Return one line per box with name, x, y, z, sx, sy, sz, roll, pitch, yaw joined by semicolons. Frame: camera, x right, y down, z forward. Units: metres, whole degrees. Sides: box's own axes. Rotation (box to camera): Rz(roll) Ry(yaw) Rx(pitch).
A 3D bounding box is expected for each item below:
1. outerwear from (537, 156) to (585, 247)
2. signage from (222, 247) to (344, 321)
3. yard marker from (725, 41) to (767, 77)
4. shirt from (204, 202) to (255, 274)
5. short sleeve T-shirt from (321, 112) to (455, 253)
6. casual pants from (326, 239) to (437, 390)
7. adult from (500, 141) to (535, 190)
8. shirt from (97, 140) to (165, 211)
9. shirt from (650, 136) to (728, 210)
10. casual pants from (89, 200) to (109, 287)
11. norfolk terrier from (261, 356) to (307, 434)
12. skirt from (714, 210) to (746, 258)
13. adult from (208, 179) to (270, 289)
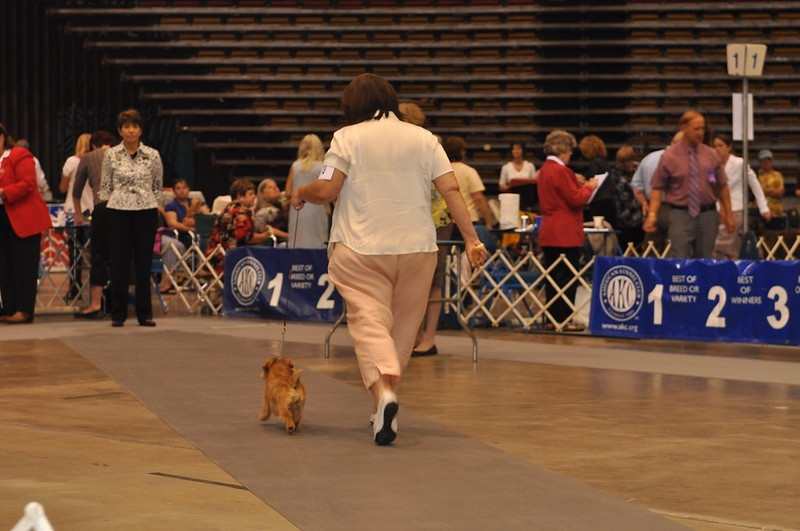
outerwear;2.024;-0.777;15.275;0.655;1.034;0.796;1;-2;-11
signage;-1.517;0.232;16.247;1.848;0.917;0.305;5;5;-37
yard marker;4.527;-2.734;16.802;0.493;0.437;0.585;1;-2;-29
shirt;-2.255;-0.347;16.850;0.474;0.806;0.692;13;-13;45
short sleeve T-shirt;-0.132;-0.719;11.174;1.108;1.153;0.523;0;15;-3
casual pants;-0.101;0.425;11.232;0.865;1.557;0.584;8;-23;-13
adult;1.973;-1.647;20.986;0.574;0.779;0.839;2;15;5
shirt;-3.178;-1.051;14.929;0.734;0.725;0.415;-3;15;-13
shirt;3.308;-1.015;14.981;1.244;1.071;0.678;0;0;2
casual pants;-3.760;-0.244;15.830;0.262;1.122;0.312;7;21;2
norfolk terrier;-1.039;1.131;11.432;0.369;0.579;1.116;-2;7;-16
skirt;3.952;-0.372;15.189;0.244;0.785;0.205;-26;46;-2
adult;-2.230;-0.423;17.205;0.829;1.456;0.734;-3;20;-27
